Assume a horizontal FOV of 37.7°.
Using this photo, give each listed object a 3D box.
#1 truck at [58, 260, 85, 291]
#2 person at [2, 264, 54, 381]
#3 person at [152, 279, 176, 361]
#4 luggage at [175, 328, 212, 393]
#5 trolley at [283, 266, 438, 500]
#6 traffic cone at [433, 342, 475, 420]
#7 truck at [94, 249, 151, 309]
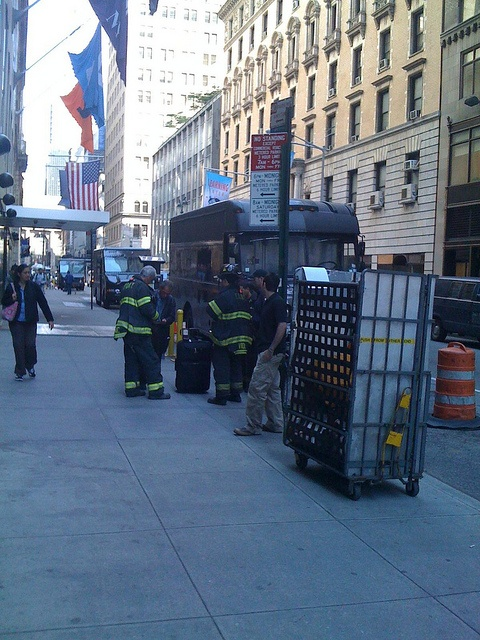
[{"bbox_3d":[-14.946,-3.843,62.375,2.423,2.908,4.488,1,7,-13],"label":"truck"},{"bbox_3d":[-3.178,0.017,10.460,0.608,1.693,0.841,2,3,-11],"label":"person"},{"bbox_3d":[-1.358,0.006,12.354,0.392,1.466,0.385,0,3,-30],"label":"person"},{"bbox_3d":[-0.718,0.637,10.160,0.549,0.732,0.599,1,3,-17],"label":"luggage"},{"bbox_3d":[0.889,0.463,5.791,0.972,2.007,1.116,0,3,-22],"label":"trolley"},{"bbox_3d":[2.734,0.781,8.885,0.515,0.958,0.444,3,3,16],"label":"traffic cone"},{"bbox_3d":[-5.881,-2.003,35.226,2.222,3.391,6.764,1,1,-14],"label":"truck"}]
